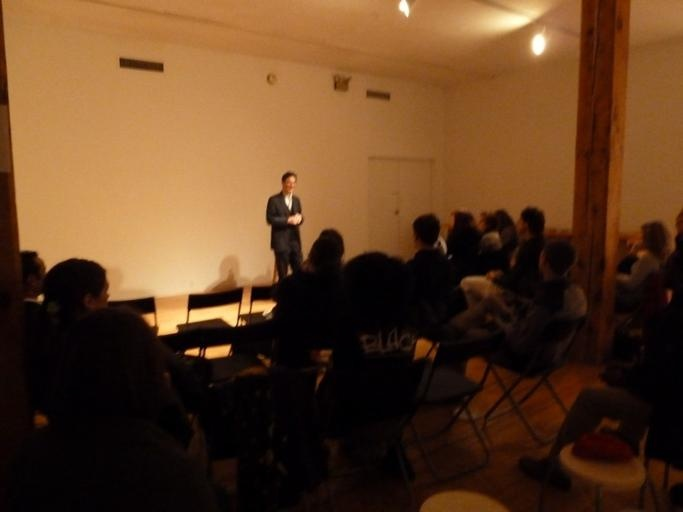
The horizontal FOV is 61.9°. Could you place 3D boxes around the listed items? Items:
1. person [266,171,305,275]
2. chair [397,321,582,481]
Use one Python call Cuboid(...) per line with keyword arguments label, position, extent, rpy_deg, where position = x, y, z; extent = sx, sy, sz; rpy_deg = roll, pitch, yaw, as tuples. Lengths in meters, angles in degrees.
Cuboid(label="person", position=(-0.618, -0.199, 6.359), extent=(0.414, 1.433, 0.418), rpy_deg=(-7, 22, -18))
Cuboid(label="chair", position=(0.955, 0.907, 4.054), extent=(1.273, 1.045, 0.790), rpy_deg=(-1, 4, -19))
